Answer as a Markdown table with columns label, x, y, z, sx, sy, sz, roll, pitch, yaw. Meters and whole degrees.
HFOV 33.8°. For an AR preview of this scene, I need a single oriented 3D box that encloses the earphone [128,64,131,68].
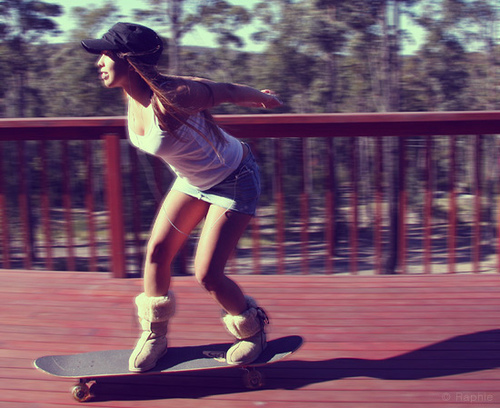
| label | x | y | z | sx | sy | sz | roll | pitch | yaw |
| --- | --- | --- | --- | --- | --- | --- | --- | --- | --- |
| earphone | -0.986 | -1.140 | 6.811 | 0.022 | 0.024 | 0.005 | -1 | 7 | 3 |

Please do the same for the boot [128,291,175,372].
| label | x | y | z | sx | sy | sz | roll | pitch | yaw |
| --- | --- | --- | --- | --- | --- | --- | --- | --- | --- |
| boot | -0.836 | 1.090 | 7.070 | 0.399 | 0.668 | 0.168 | -2 | 6 | -3 |
